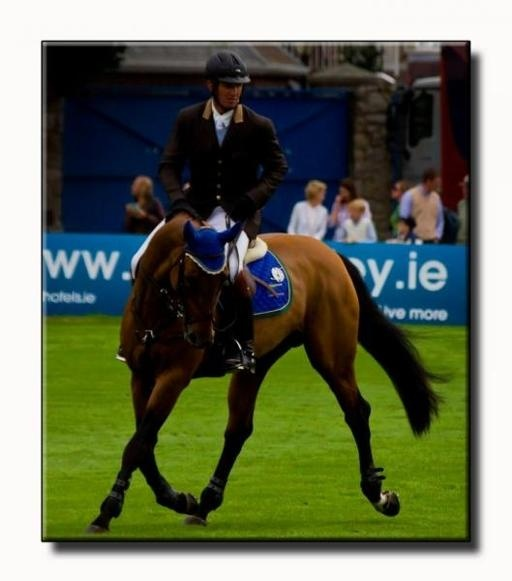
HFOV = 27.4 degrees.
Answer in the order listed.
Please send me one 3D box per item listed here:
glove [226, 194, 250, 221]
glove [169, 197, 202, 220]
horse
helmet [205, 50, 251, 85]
[{"bbox_3d":[-0.090,-0.498,6.405,0.132,0.150,0.084,-1,4,-14],"label":"glove"},{"bbox_3d":[-0.423,-0.481,6.227,0.193,0.132,0.218,0,5,-7],"label":"glove"},{"bbox_3d":[-0.004,0.538,6.840,3.453,2.036,0.801,3,-3,-42],"label":"horse"},{"bbox_3d":[-0.173,-1.324,6.222,0.165,0.123,0.233,-5,17,-27],"label":"helmet"}]
